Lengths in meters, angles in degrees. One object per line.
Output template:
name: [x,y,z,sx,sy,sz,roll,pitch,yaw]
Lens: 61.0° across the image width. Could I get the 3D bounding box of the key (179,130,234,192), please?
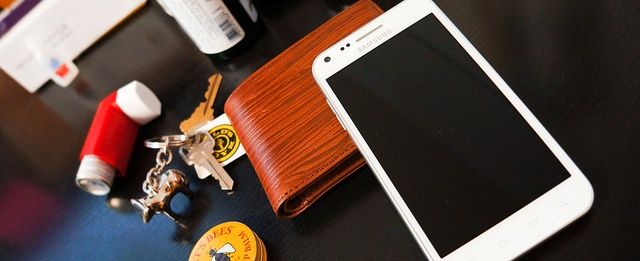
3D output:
key: [-0.436,0.112,2.127,0.149,0.031,0.286,-43,91,-13]
